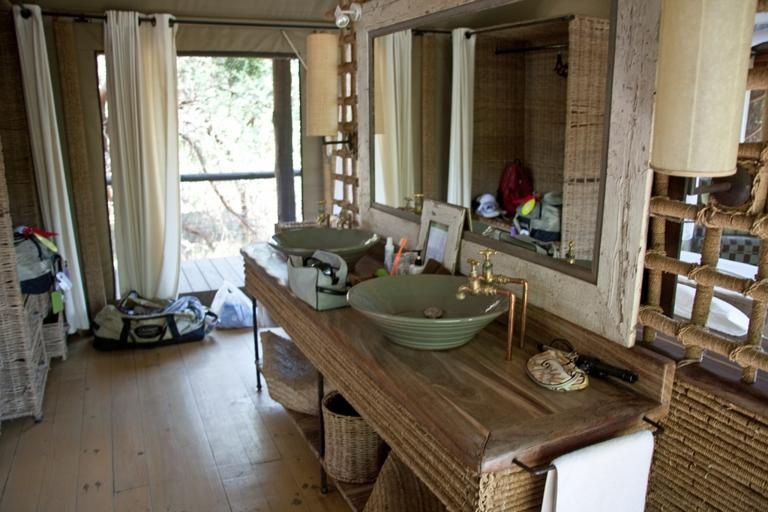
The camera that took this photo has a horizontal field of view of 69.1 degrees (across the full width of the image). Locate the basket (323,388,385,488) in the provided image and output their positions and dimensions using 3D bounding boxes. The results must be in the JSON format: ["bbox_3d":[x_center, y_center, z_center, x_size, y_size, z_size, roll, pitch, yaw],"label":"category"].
[{"bbox_3d":[-0.166,0.942,3.029,0.409,0.441,0.421,2,13,9],"label":"basket"}]

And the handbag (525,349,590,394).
[{"bbox_3d":[0.636,0.429,2.052,0.163,0.038,0.137,-4,28,23],"label":"handbag"}]

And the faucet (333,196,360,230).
[{"bbox_3d":[-0.244,-0.282,3.799,0.167,0.159,0.257,0,6,-3],"label":"faucet"}]

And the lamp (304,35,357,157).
[{"bbox_3d":[-0.321,-1.051,3.629,0.281,0.763,0.559,4,19,16],"label":"lamp"}]

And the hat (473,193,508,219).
[{"bbox_3d":[0.496,-0.234,2.623,0.098,0.071,0.126,-8,13,-30],"label":"hat"}]

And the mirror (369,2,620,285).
[{"bbox_3d":[0.517,-0.506,2.506,0.196,0.887,1.429,-5,15,-24],"label":"mirror"}]

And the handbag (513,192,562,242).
[{"bbox_3d":[0.643,-0.158,2.336,0.192,0.075,0.153,-20,26,-36],"label":"handbag"}]
